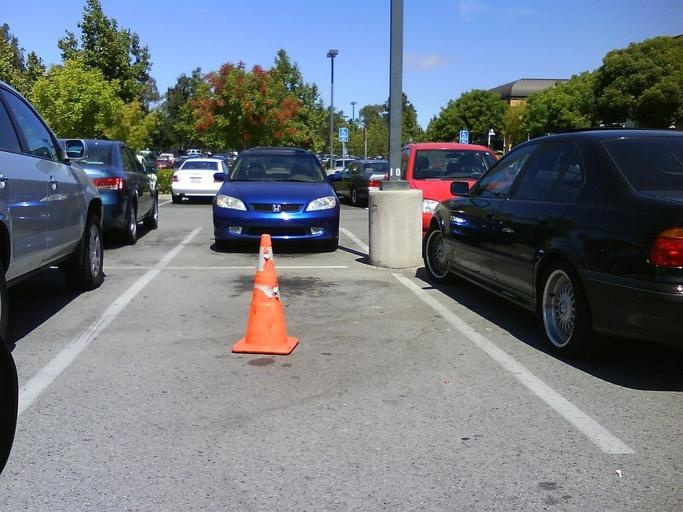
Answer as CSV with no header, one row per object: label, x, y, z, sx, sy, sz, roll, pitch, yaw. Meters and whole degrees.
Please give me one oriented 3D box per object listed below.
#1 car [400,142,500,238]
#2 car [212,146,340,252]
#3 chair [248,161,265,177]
car,2.301,-1.718,11.039,1.508,1.378,2.824,0,6,-6
car,-1.425,-1.214,10.487,2.504,2.142,2.286,-2,8,-16
chair,-1.875,-1.885,10.959,0.229,0.190,0.397,0,38,-4
